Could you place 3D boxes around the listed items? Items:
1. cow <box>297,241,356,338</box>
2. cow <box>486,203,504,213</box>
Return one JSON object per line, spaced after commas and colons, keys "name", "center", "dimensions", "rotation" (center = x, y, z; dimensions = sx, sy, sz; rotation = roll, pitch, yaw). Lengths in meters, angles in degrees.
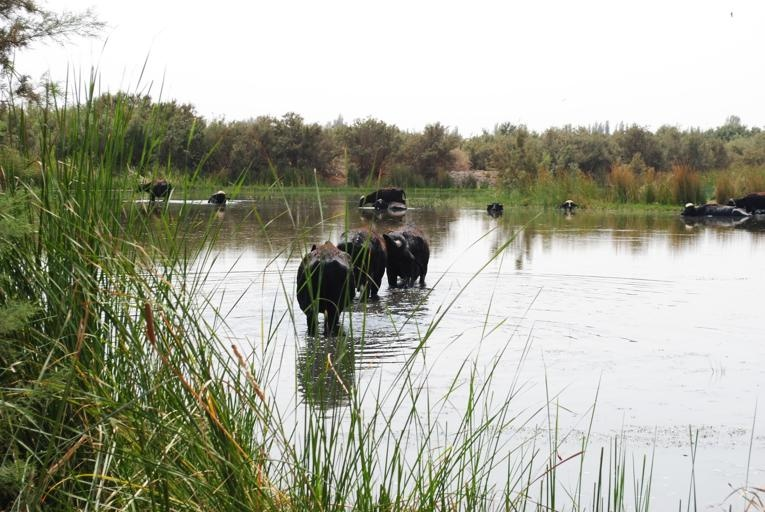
{"name": "cow", "center": [-0.597, 0.345, 9.048], "dimensions": [0.407, 0.817, 1.382], "rotation": [2, 5, -2]}
{"name": "cow", "center": [3.407, -1.453, 27.732], "dimensions": [0.270, 0.449, 0.765], "rotation": [-3, 0, -2]}
